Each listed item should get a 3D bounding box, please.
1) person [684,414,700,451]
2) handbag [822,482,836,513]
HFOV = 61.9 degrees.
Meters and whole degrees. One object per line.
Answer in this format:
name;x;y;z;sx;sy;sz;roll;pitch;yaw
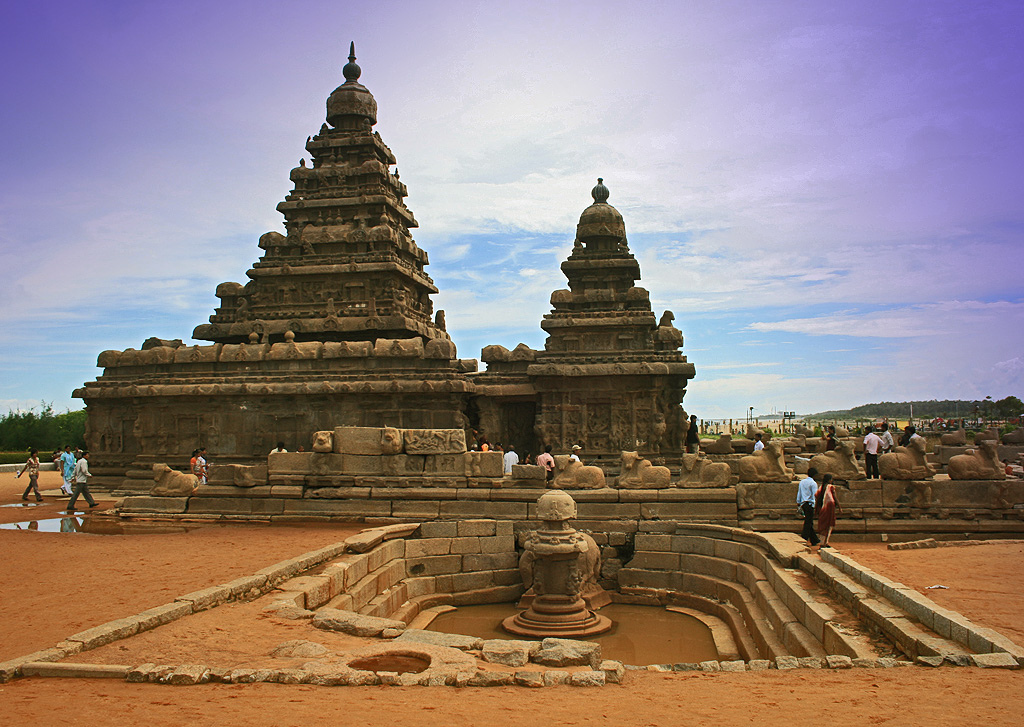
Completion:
person;5.891;2.268;27.768;0.428;1.092;1.040;-1;5;10
handbag;6.173;2.624;16.641;0.223;0.505;0.332;0;5;14
